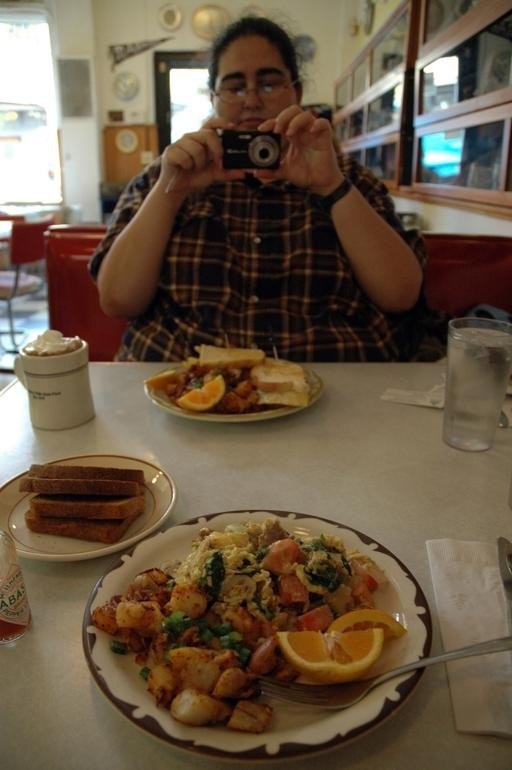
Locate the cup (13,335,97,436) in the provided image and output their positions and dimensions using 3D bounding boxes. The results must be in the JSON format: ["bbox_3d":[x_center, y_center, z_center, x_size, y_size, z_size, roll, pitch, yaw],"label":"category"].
[{"bbox_3d":[-0.284,-0.006,0.904,0.095,0.149,0.152,-9,19,-18],"label":"cup"}]

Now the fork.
[{"bbox_3d":[0.086,0.210,0.424,0.216,0.032,0.032,-10,2,4],"label":"fork"}]

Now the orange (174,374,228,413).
[{"bbox_3d":[-0.082,0.018,0.930,0.049,0.037,0.071,29,59,7],"label":"orange"}]

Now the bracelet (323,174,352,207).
[{"bbox_3d":[0.186,-0.448,1.389,0.067,0.027,0.068,-28,30,48],"label":"bracelet"}]

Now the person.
[{"bbox_3d":[0.007,-0.491,1.446,0.800,0.849,0.600,-8,19,-22],"label":"person"}]

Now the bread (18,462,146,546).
[{"bbox_3d":[-0.192,0.124,0.633,0.090,0.029,0.090,3,22,4],"label":"bread"}]
